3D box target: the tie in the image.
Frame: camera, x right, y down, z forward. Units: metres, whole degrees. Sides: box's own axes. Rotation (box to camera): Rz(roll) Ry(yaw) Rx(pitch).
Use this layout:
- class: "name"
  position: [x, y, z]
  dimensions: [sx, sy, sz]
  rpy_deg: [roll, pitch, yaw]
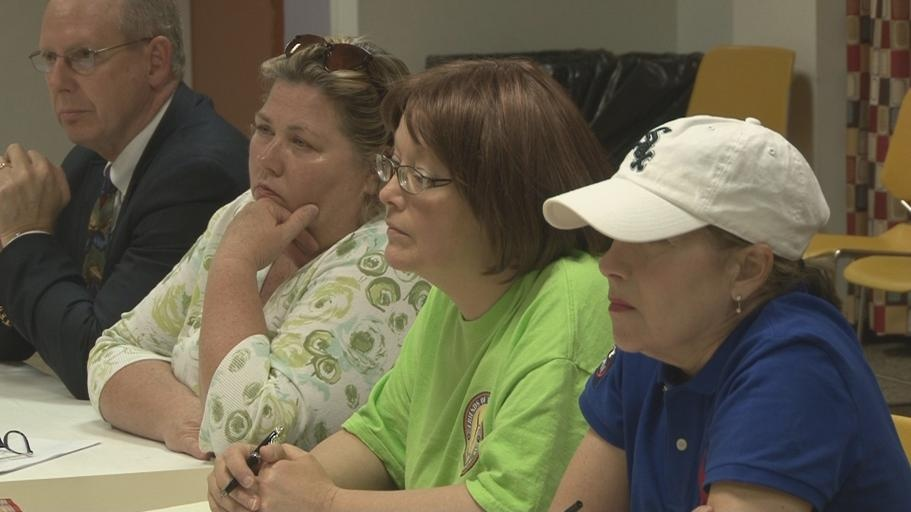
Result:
- class: "tie"
  position: [-1.319, -0.090, 3.712]
  dimensions: [0.087, 0.411, 0.039]
  rpy_deg: [8, 7, 5]

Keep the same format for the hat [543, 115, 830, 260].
- class: "hat"
  position: [0.534, -0.154, 2.238]
  dimensions: [0.498, 0.256, 0.327]
  rpy_deg: [4, -2, -7]

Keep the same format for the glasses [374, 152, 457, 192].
- class: "glasses"
  position: [-0.117, -0.185, 2.535]
  dimensions: [0.132, 0.042, 0.124]
  rpy_deg: [4, 21, -44]
